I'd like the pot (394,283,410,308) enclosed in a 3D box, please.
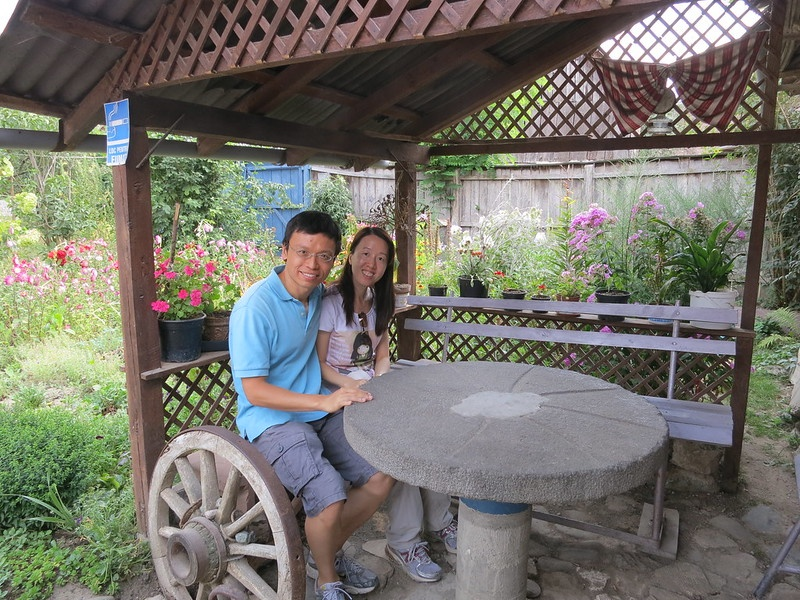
[{"bbox_3d":[0.021,-0.041,4.838,0.143,0.162,0.162,-1,3,-11],"label":"pot"}]

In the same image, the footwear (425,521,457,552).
[{"bbox_3d":[0.270,1.353,3.351,0.103,0.129,0.255,1,6,-44],"label":"footwear"}]

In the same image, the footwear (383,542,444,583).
[{"bbox_3d":[0.077,1.433,3.170,0.355,0.172,0.152,8,-8,46],"label":"footwear"}]

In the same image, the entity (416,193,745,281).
[{"bbox_3d":[1.857,-0.612,5.690,1.264,0.823,2.136,-6,6,-44],"label":"entity"}]

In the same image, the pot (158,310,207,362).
[{"bbox_3d":[-1.323,0.226,3.483,0.226,0.211,0.259,3,4,3],"label":"pot"}]

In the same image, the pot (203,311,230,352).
[{"bbox_3d":[-1.154,0.191,3.792,0.219,0.261,0.232,3,9,0],"label":"pot"}]

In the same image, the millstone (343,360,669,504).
[{"bbox_3d":[0.495,0.608,2.735,1.463,0.341,1.018,0,6,9],"label":"millstone"}]

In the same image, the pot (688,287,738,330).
[{"bbox_3d":[2.196,0.038,3.979,0.319,0.322,0.332,0,5,0],"label":"pot"}]

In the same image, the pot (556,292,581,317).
[{"bbox_3d":[1.411,0.024,4.751,0.207,0.179,0.220,1,1,0],"label":"pot"}]

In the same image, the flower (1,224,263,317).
[{"bbox_3d":[-2.719,-0.222,5.627,1.971,0.817,1.515,1,-1,-3],"label":"flower"}]

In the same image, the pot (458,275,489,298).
[{"bbox_3d":[0.649,-0.133,5.141,0.205,0.163,0.196,1,5,0],"label":"pot"}]

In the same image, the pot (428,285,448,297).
[{"bbox_3d":[0.346,-0.083,5.198,0.112,0.102,0.127,5,9,17],"label":"pot"}]

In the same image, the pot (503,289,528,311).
[{"bbox_3d":[1.011,-0.015,4.950,0.188,0.148,0.197,0,10,0],"label":"pot"}]

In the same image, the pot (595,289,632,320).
[{"bbox_3d":[1.677,0.037,4.502,0.238,0.198,0.249,1,2,0],"label":"pot"}]
